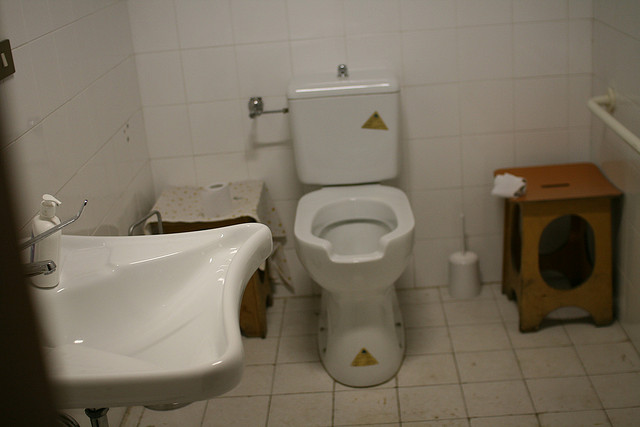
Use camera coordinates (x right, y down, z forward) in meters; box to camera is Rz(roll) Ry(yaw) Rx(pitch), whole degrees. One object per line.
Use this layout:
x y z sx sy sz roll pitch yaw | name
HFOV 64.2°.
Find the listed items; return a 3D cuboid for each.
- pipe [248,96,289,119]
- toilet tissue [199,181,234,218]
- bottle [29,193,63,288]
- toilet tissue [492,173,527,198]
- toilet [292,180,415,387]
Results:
-0.231 -0.467 2.320 0.095 0.089 0.170 -1 2 45 | pipe
-0.429 -0.058 2.156 0.133 0.134 0.136 -10 32 -6 | toilet tissue
-0.578 0.058 1.076 0.063 0.186 0.065 5 -1 0 | bottle
0.789 -0.117 2.159 0.105 0.041 0.112 4 49 31 | toilet tissue
0.158 0.288 2.146 0.459 0.687 0.631 -4 31 4 | toilet
